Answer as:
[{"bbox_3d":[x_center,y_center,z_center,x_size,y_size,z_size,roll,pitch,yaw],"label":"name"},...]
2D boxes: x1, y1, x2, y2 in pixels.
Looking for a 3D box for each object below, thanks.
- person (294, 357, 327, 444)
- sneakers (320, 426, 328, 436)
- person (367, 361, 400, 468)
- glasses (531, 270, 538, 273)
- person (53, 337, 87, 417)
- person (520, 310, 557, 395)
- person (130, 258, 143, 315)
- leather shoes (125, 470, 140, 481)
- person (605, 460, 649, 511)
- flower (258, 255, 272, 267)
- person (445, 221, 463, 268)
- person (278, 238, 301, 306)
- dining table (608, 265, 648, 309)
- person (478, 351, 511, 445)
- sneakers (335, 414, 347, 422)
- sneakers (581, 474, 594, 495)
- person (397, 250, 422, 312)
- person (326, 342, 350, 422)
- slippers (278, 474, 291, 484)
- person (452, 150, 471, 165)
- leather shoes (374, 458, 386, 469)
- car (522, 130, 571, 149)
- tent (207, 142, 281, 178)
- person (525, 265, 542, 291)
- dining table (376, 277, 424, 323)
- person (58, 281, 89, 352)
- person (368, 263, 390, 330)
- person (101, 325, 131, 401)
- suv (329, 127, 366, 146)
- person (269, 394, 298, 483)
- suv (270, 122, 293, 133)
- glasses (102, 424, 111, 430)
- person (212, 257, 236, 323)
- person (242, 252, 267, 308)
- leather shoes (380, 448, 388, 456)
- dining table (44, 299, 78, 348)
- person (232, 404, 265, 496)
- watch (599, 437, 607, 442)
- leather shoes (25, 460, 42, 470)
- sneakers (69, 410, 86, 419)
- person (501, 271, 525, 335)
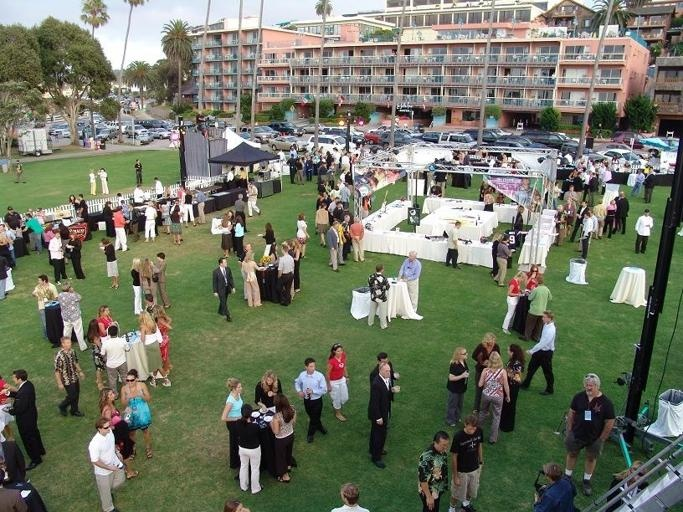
[{"bbox_3d":[-0.584,2.785,8.956,0.625,1.804,0.801,-2,14,-3],"label":"person"},{"bbox_3d":[-0.328,3.606,9.052,0.071,0.156,0.217,-17,29,-28],"label":"sneakers"},{"bbox_3d":[0.824,3.173,8.479,0.713,2.416,0.828,3,29,6],"label":"person"},{"bbox_3d":[5.492,0.434,12.473,0.119,0.123,0.089,0,13,39],"label":"glasses"},{"bbox_3d":[-5.900,2.574,9.458,0.539,1.879,0.772,-11,17,-34],"label":"person"},{"bbox_3d":[4.692,2.196,10.288,0.678,2.057,0.995,5,15,25],"label":"person"},{"bbox_3d":[-6.359,0.933,13.661,0.377,1.740,1.127,-8,15,-25],"label":"person"},{"bbox_3d":[-3.826,4.033,8.029,0.246,0.100,0.124,-16,48,-45],"label":"leather shoes"},{"bbox_3d":[4.240,3.452,6.503,0.941,0.914,0.291,25,24,-46],"label":"person"},{"bbox_3d":[-2.563,0.194,15.001,0.391,0.426,0.399,0,14,-2],"label":"flower"},{"bbox_3d":[4.518,-0.538,17.671,0.521,1.902,1.533,2,14,14],"label":"person"},{"bbox_3d":[-1.778,0.516,14.593,0.603,2.061,0.995,-2,14,-1],"label":"person"},{"bbox_3d":[9.603,1.113,14.691,0.868,0.881,0.879,8,27,21],"label":"dining table"},{"bbox_3d":[3.056,2.777,8.814,0.565,1.916,0.705,8,16,34],"label":"person"},{"bbox_3d":[-0.005,3.488,9.459,0.089,0.109,0.254,-40,37,-25],"label":"sneakers"},{"bbox_3d":[4.358,4.097,7.785,0.129,0.162,0.408,0,49,18],"label":"sneakers"},{"bbox_3d":[2.107,0.912,13.885,0.796,2.146,0.655,-19,30,-37],"label":"person"},{"bbox_3d":[-0.090,2.652,9.438,0.409,1.725,0.695,0,14,5],"label":"person"},{"bbox_3d":[-1.018,4.036,7.888,0.216,0.121,0.089,5,-8,11],"label":"slippers"},{"bbox_3d":[7.289,-5.962,26.620,1.088,0.657,1.537,3,23,11],"label":"person"},{"bbox_3d":[0.723,3.918,8.237,0.088,0.114,0.254,-4,1,-33],"label":"leather shoes"},{"bbox_3d":[18.964,-10.412,40.788,4.015,1.566,1.899,9,33,19],"label":"car"},{"bbox_3d":[-5.559,-5.824,25.539,2.335,1.031,2.374,9,21,34],"label":"tent"},{"bbox_3d":[5.633,0.664,12.863,0.288,0.921,0.330,13,29,27],"label":"person"},{"bbox_3d":[1.765,1.400,13.706,1.746,1.270,1.023,-8,17,-29],"label":"dining table"},{"bbox_3d":[-7.184,1.648,11.702,0.611,1.888,0.500,-6,20,-21],"label":"person"},{"bbox_3d":[1.110,1.172,12.957,0.646,1.917,0.742,0,14,5],"label":"person"},{"bbox_3d":[-5.156,2.350,10.028,0.569,1.688,0.515,-8,32,-34],"label":"person"},{"bbox_3d":[0.530,-12.170,46.349,4.498,1.845,2.171,13,31,27],"label":"suv"},{"bbox_3d":[-1.028,3.220,7.808,0.396,1.755,0.385,-4,14,-11],"label":"person"},{"bbox_3d":[-6.791,-14.719,50.422,2.471,1.189,1.233,8,33,17],"label":"suv"},{"bbox_3d":[-3.765,2.769,7.043,0.093,0.029,0.094,27,15,15],"label":"glasses"},{"bbox_3d":[-3.607,0.989,13.498,0.581,1.909,0.903,-5,14,-15],"label":"person"},{"bbox_3d":[-2.859,0.738,14.313,0.649,1.817,0.489,-5,14,-13],"label":"person"},{"bbox_3d":[0.837,3.813,8.485,0.070,0.090,0.219,-1,2,2],"label":"leather shoes"},{"bbox_3d":[-7.364,1.770,11.560,0.811,1.122,0.587,28,37,25],"label":"dining table"},{"bbox_3d":[-1.607,3.352,7.598,0.408,1.659,0.341,-6,14,-18],"label":"person"},{"bbox_3d":[4.535,3.182,7.588,0.081,0.064,0.087,-10,42,15],"label":"watch"},{"bbox_3d":[-5.794,3.950,8.255,0.093,0.110,0.245,7,6,36],"label":"leather shoes"},{"bbox_3d":[-5.761,3.473,9.570,0.247,0.107,0.129,1,20,-22],"label":"sneakers"},{"bbox_3d":[5.094,1.479,12.975,0.607,1.970,0.715,1,37,6],"label":"person"}]
